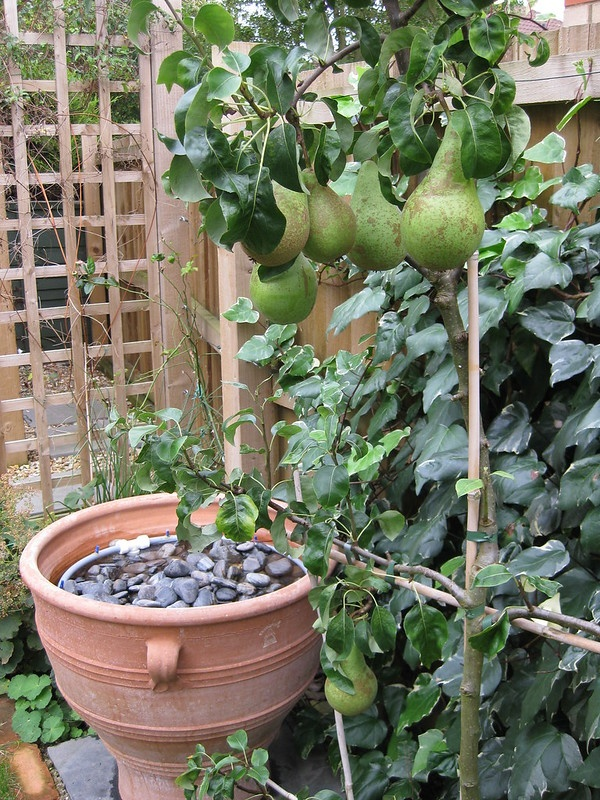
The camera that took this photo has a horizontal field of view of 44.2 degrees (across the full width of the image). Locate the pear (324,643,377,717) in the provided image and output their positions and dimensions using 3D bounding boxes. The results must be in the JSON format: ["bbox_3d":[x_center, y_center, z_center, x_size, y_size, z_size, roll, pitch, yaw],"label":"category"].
[{"bbox_3d":[0.068,0.418,1.072,0.069,0.128,0.075,-3,10,17],"label":"pear"}]

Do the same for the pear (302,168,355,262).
[{"bbox_3d":[0.024,-0.158,0.633,0.053,0.075,0.047,-11,29,0],"label":"pear"}]

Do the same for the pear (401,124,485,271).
[{"bbox_3d":[0.110,-0.155,0.568,0.060,0.110,0.083,-1,10,25],"label":"pear"}]
